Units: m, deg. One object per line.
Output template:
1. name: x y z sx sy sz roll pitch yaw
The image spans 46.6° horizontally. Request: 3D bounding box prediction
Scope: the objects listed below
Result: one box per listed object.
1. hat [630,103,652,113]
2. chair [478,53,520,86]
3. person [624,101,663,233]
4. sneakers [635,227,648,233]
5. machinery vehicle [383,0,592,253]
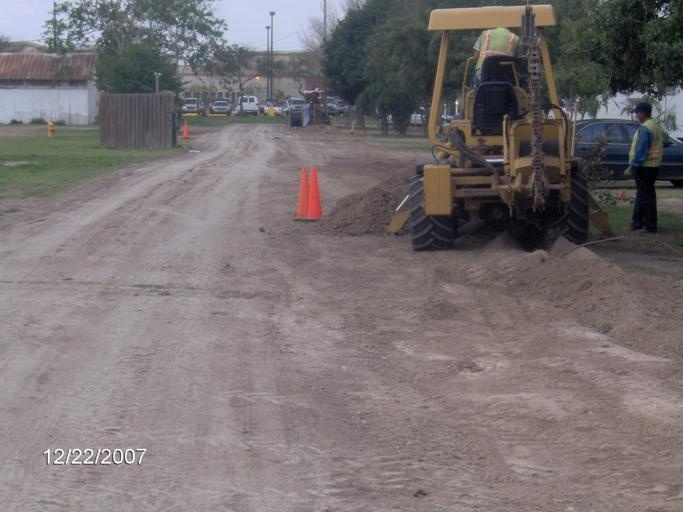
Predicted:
1. hat: 5.291 -2.608 13.905 0.308 0.181 0.228 7 15 31
2. chair: 2.332 -2.777 11.705 0.405 0.556 0.457 0 33 2
3. person: 5.356 -1.570 13.905 0.583 2.158 1.109 6 16 22
4. sneakers: 5.237 -0.446 13.805 0.205 0.089 0.073 7 16 1
5. machinery vehicle: 2.409 -1.989 12.216 2.174 2.442 4.228 -1 15 4
